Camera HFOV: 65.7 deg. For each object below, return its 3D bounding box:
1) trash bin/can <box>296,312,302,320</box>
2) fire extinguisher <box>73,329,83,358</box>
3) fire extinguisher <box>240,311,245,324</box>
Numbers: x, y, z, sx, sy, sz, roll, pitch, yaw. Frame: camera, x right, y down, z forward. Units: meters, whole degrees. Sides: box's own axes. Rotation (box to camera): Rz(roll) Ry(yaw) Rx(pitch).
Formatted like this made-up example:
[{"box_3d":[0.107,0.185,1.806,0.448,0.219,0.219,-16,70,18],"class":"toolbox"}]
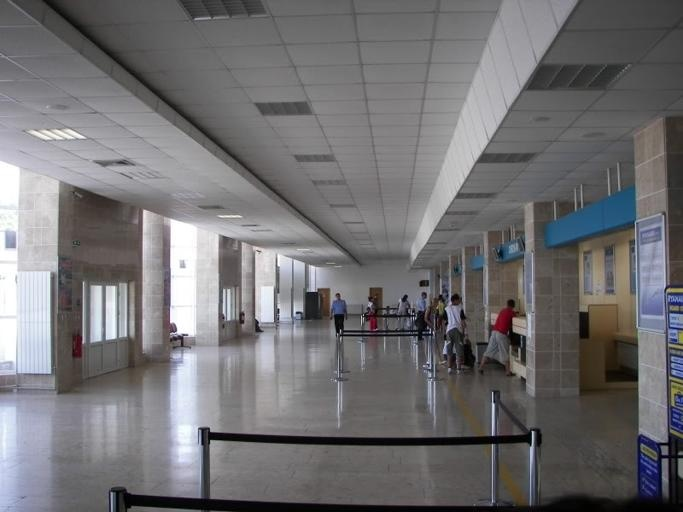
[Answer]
[{"box_3d":[-3.019,4.196,36.957,0.495,0.498,0.773,5,-4,-7],"class":"trash bin/can"},{"box_3d":[-5.865,1.967,11.704,0.160,0.447,0.338,5,-4,-11],"class":"fire extinguisher"},{"box_3d":[-4.477,2.739,23.609,0.170,0.532,0.286,4,-4,10],"class":"fire extinguisher"}]
